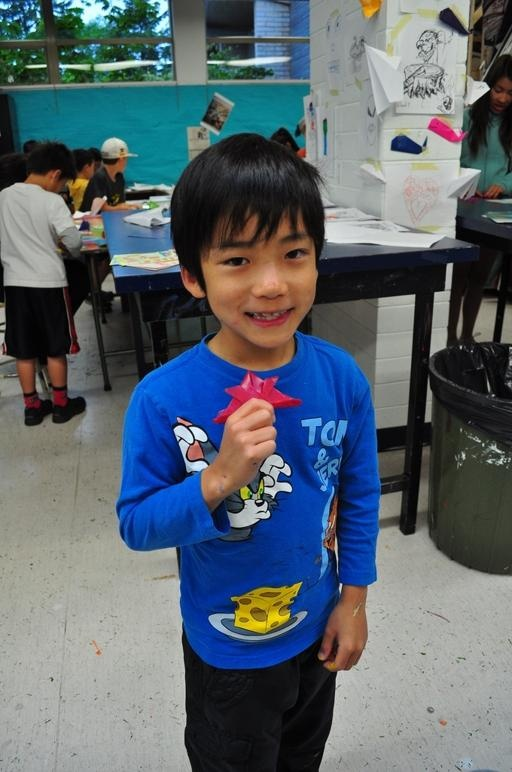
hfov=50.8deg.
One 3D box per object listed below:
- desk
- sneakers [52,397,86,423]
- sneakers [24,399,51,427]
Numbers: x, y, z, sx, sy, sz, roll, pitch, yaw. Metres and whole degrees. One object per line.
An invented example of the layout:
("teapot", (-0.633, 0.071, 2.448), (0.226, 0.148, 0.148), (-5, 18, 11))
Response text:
("desk", (0.174, -0.084, 2.186), (1.236, 1.129, 1.228), (1, 25, 16))
("sneakers", (-1.015, 0.130, 2.977), (0.087, 0.104, 0.239), (2, 17, 11))
("sneakers", (-1.176, 0.138, 2.936), (0.076, 0.096, 0.226), (-2, 20, 3))
